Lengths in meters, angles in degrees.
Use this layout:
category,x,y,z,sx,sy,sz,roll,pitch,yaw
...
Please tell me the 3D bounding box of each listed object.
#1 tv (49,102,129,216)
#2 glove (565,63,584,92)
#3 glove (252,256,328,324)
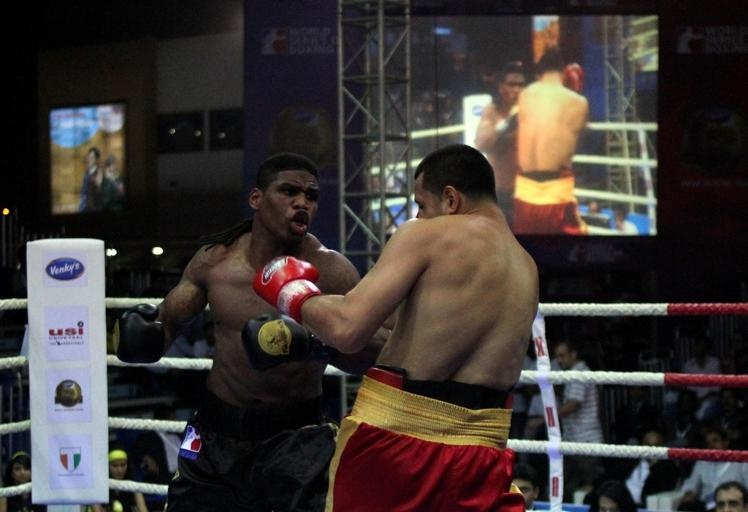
category,x,y,z,sx,sy,sz,roll,pitch,yaw
tv,-3.579,-1.214,12.314,1.293,1.765,0.081,-2,-4,13
glove,2.287,-2.024,11.050,0.222,0.318,0.104,-7,6,-10
glove,-0.577,0.185,6.375,0.343,0.198,0.445,-17,33,-27
